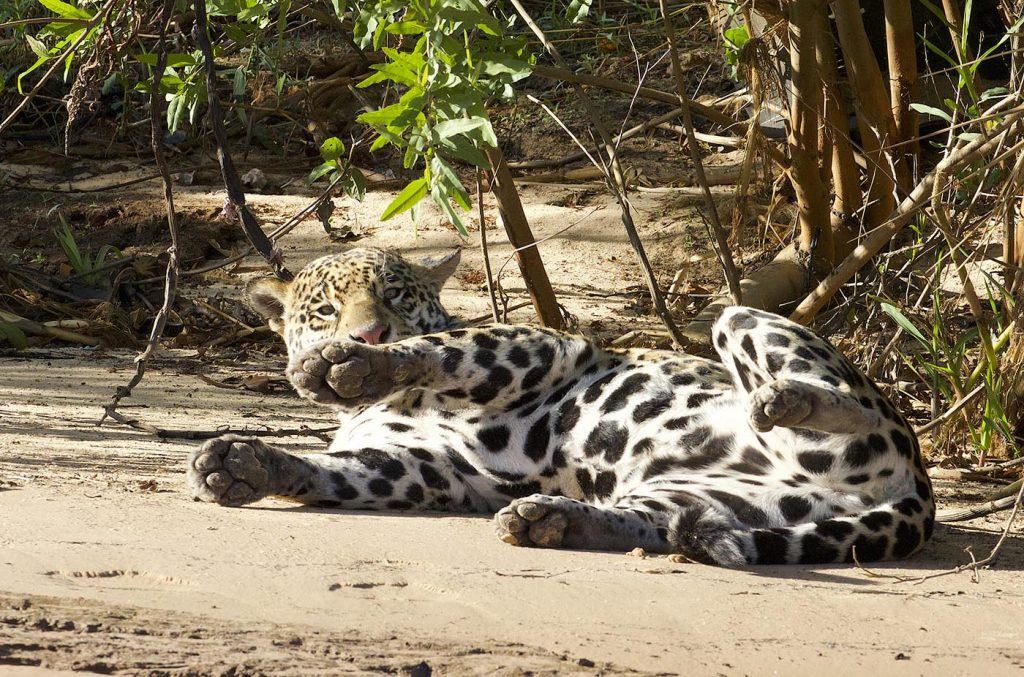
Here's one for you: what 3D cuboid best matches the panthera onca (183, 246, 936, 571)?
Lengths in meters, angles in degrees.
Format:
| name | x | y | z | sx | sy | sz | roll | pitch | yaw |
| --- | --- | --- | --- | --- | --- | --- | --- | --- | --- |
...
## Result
| name | x | y | z | sx | sy | sz | roll | pitch | yaw |
| --- | --- | --- | --- | --- | --- | --- | --- | --- | --- |
| panthera onca | 0.291 | 0.325 | 4.761 | 2.364 | 0.836 | 0.994 | 1 | 9 | 15 |
